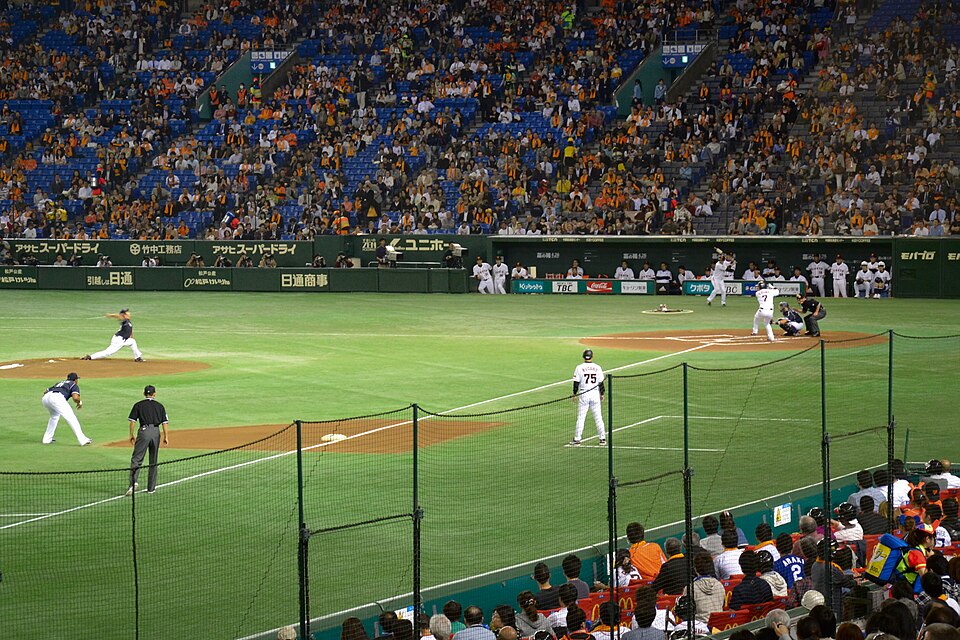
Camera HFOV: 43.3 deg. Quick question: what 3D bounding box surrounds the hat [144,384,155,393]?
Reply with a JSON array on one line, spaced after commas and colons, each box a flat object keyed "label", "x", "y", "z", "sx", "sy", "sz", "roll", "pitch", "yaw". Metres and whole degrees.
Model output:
[{"label": "hat", "x": -7.902, "y": 1.653, "z": 28.870, "sx": 0.244, "sy": 0.257, "sz": 0.296, "roll": 0, "pitch": 11, "yaw": -8}]

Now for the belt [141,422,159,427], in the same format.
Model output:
[{"label": "belt", "x": -7.720, "y": 2.422, "z": 28.245, "sx": 0.372, "sy": 0.093, "sz": 0.076, "roll": -4, "pitch": 4, "yaw": -31}]

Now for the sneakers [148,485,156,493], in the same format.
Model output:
[{"label": "sneakers", "x": -7.533, "y": 3.837, "z": 27.682, "sx": 0.118, "sy": 0.123, "sz": 0.297, "roll": 2, "pitch": 9, "yaw": 5}]

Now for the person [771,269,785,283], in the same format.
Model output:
[{"label": "person", "x": 14.866, "y": -2.228, "z": 60.662, "sx": 0.901, "sy": 0.687, "sz": 0.455, "roll": -3, "pitch": 8, "yaw": -7}]

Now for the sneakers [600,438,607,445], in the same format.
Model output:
[{"label": "sneakers", "x": 3.173, "y": 3.139, "z": 31.584, "sx": 0.101, "sy": 0.073, "sz": 0.149, "roll": 5, "pitch": 23, "yaw": -11}]

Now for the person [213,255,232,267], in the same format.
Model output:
[{"label": "person", "x": -14.566, "y": -3.417, "z": 68.414, "sx": 0.975, "sy": 0.595, "sz": 0.286, "roll": -2, "pitch": 4, "yaw": -4}]

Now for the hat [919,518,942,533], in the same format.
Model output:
[{"label": "hat", "x": 8.871, "y": 4.053, "z": 23.983, "sx": 0.467, "sy": 0.121, "sz": 0.390, "roll": 4, "pitch": 2, "yaw": -17}]

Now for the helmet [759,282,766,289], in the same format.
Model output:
[{"label": "helmet", "x": 10.415, "y": -1.285, "z": 44.562, "sx": 0.271, "sy": 0.221, "sz": 0.535, "roll": -1, "pitch": 4, "yaw": 13}]

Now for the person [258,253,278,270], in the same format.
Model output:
[{"label": "person", "x": -11.934, "y": -3.219, "z": 67.960, "sx": 1.072, "sy": 0.989, "sz": 0.705, "roll": 2, "pitch": -26, "yaw": -20}]

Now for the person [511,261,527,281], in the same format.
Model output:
[{"label": "person", "x": 2.187, "y": -2.688, "z": 65.532, "sx": 1.007, "sy": 1.265, "sz": 0.742, "roll": -4, "pitch": 0, "yaw": 22}]

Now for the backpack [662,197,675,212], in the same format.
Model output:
[{"label": "backpack", "x": 9.744, "y": -5.976, "z": 63.045, "sx": 0.392, "sy": 0.753, "sz": 0.852, "roll": -5, "pitch": 5, "yaw": -43}]

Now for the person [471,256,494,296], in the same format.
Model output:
[{"label": "person", "x": 0.131, "y": -2.462, "z": 65.418, "sx": 1.055, "sy": 1.985, "sz": 0.525, "roll": -1, "pitch": 4, "yaw": 12}]

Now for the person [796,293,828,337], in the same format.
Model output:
[{"label": "person", "x": 12.362, "y": -0.196, "z": 45.270, "sx": 0.821, "sy": 1.673, "sz": 1.558, "roll": 0, "pitch": 4, "yaw": 17}]

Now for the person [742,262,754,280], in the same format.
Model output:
[{"label": "person", "x": 13.603, "y": -2.561, "z": 61.592, "sx": 0.260, "sy": 0.418, "sz": 0.833, "roll": -5, "pitch": -25, "yaw": -21}]

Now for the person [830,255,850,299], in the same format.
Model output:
[{"label": "person", "x": 17.800, "y": -2.215, "z": 60.102, "sx": 0.784, "sy": 2.093, "sz": 0.678, "roll": -1, "pitch": 4, "yaw": 12}]

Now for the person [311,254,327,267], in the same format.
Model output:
[{"label": "person", "x": -8.920, "y": -3.273, "z": 66.996, "sx": 0.730, "sy": 0.726, "sz": 0.403, "roll": -2, "pitch": 4, "yaw": -7}]

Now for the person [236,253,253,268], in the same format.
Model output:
[{"label": "person", "x": -13.254, "y": -3.402, "z": 68.106, "sx": 0.859, "sy": 0.695, "sz": 0.295, "roll": -1, "pitch": 4, "yaw": 4}]

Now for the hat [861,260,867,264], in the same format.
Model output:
[{"label": "hat", "x": 18.871, "y": -2.875, "z": 59.555, "sx": 0.218, "sy": 0.154, "sz": 0.216, "roll": -1, "pitch": 5, "yaw": 1}]

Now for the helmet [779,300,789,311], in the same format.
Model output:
[{"label": "helmet", "x": 11.165, "y": -0.529, "z": 44.595, "sx": 0.364, "sy": 0.329, "sz": 0.284, "roll": 1, "pitch": 1, "yaw": -17}]

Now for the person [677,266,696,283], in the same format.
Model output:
[{"label": "person", "x": 10.658, "y": -2.367, "z": 62.748, "sx": 0.816, "sy": 0.815, "sz": 0.553, "roll": -1, "pitch": 4, "yaw": 9}]

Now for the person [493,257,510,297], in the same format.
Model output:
[{"label": "person", "x": 1.106, "y": -2.453, "z": 65.307, "sx": 0.885, "sy": 1.979, "sz": 0.640, "roll": -3, "pitch": 4, "yaw": -24}]

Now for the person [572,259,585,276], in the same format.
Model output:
[{"label": "person", "x": 5.183, "y": -2.804, "z": 64.585, "sx": 0.525, "sy": 0.901, "sz": 0.419, "roll": -1, "pitch": 4, "yaw": 15}]

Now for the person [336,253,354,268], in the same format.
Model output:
[{"label": "person", "x": -7.541, "y": -3.293, "z": 66.890, "sx": 0.645, "sy": 0.853, "sz": 0.414, "roll": -2, "pitch": 12, "yaw": 2}]

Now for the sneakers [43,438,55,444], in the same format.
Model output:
[{"label": "sneakers", "x": -11.448, "y": 3.180, "z": 32.058, "sx": 0.274, "sy": 0.112, "sz": 0.117, "roll": -4, "pitch": 12, "yaw": -4}]

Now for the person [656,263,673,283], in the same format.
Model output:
[{"label": "person", "x": 9.482, "y": -2.460, "z": 62.865, "sx": 0.698, "sy": 0.913, "sz": 0.309, "roll": 3, "pitch": 21, "yaw": 11}]

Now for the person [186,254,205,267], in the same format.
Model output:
[{"label": "person", "x": -16.075, "y": -3.425, "z": 68.440, "sx": 0.990, "sy": 0.689, "sz": 0.498, "roll": -3, "pitch": 4, "yaw": -17}]

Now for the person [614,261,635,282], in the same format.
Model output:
[{"label": "person", "x": 7.681, "y": -2.441, "z": 64.102, "sx": 1.439, "sy": 1.288, "sz": 0.811, "roll": -1, "pitch": -4, "yaw": 14}]

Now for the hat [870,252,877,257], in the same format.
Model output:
[{"label": "hat", "x": 19.240, "y": -3.269, "z": 59.395, "sx": 0.208, "sy": 0.084, "sz": 0.202, "roll": -6, "pitch": 12, "yaw": -22}]

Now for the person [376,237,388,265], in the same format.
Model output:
[{"label": "person", "x": -5.399, "y": -3.702, "z": 65.946, "sx": 0.533, "sy": 1.482, "sz": 0.675, "roll": -2, "pitch": 4, "yaw": -5}]

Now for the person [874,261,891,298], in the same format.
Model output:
[{"label": "person", "x": 19.653, "y": -2.007, "z": 59.348, "sx": 0.825, "sy": 1.706, "sz": 0.417, "roll": 0, "pitch": 4, "yaw": 22}]
